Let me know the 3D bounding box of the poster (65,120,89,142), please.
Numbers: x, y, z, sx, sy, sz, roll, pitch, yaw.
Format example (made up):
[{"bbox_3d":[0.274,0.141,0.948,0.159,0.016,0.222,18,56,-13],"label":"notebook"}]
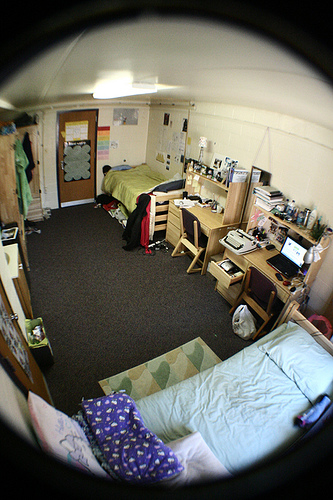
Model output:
[{"bbox_3d":[-1.261,-1.669,4.546,0.014,0.230,0.322,39,38,28],"label":"poster"}]

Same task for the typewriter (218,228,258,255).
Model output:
[{"bbox_3d":[0.673,-0.070,3.103,0.282,0.143,0.309,-8,27,-32],"label":"typewriter"}]

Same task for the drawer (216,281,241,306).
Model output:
[{"bbox_3d":[0.606,0.421,3.136,0.117,0.197,0.196,-4,29,-29],"label":"drawer"}]

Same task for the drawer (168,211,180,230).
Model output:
[{"bbox_3d":[0.100,-0.359,3.964,0.106,0.131,0.205,-3,24,-31],"label":"drawer"}]

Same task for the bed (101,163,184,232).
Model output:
[{"bbox_3d":[-0.259,-0.861,4.852,0.930,0.630,1.522,-17,37,-30],"label":"bed"}]

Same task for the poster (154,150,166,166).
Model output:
[{"bbox_3d":[-0.089,-1.456,5.139,0.035,0.152,0.263,-7,24,-29],"label":"poster"}]

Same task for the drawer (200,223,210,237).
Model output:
[{"bbox_3d":[0.413,-0.221,3.483,0.063,0.082,0.125,-12,33,-35],"label":"drawer"}]

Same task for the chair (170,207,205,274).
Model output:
[{"bbox_3d":[0.351,-0.138,3.714,0.437,0.660,0.397,-9,33,-26],"label":"chair"}]

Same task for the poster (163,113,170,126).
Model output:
[{"bbox_3d":[0.005,-1.893,4.708,0.012,0.172,0.151,-8,32,-24],"label":"poster"}]

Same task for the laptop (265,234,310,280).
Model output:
[{"bbox_3d":[1.017,0.059,2.733,0.301,0.189,0.284,28,51,34],"label":"laptop"}]

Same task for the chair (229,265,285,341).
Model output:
[{"bbox_3d":[0.772,0.452,2.746,0.375,0.514,0.300,-24,50,-30],"label":"chair"}]

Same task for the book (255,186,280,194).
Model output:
[{"bbox_3d":[0.926,-0.539,2.944,0.116,0.028,0.120,-4,23,-18],"label":"book"}]

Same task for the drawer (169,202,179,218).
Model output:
[{"bbox_3d":[0.098,-0.487,3.915,0.094,0.109,0.174,-7,25,-26],"label":"drawer"}]
